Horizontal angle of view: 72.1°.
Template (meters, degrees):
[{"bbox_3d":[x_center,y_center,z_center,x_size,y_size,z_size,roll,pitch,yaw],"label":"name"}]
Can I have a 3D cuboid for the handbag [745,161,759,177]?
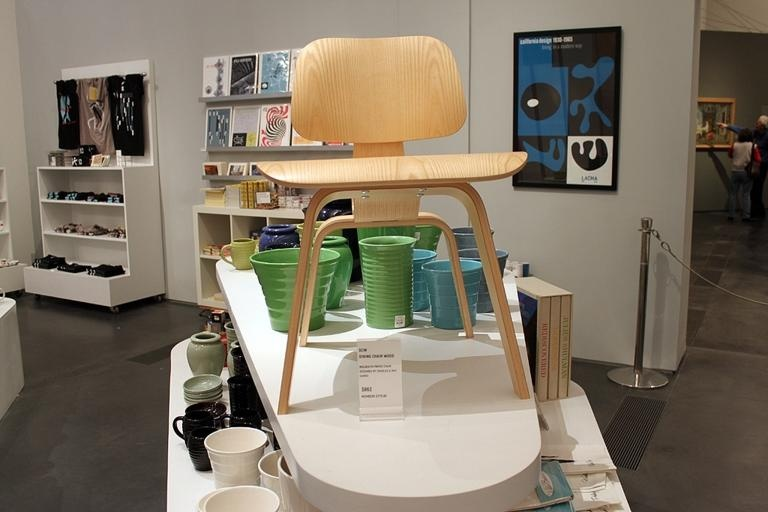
[{"bbox_3d":[6.632,-1.579,9.522,0.279,0.240,0.068,-6,14,-16],"label":"handbag"}]

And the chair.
[{"bbox_3d":[0.010,-0.202,2.041,0.878,1.361,0.910,-4,11,-9],"label":"chair"}]

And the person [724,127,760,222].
[{"bbox_3d":[6.568,-1.492,9.691,0.558,1.648,0.362,-4,13,-9],"label":"person"}]

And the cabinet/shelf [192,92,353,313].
[{"bbox_3d":[-1.351,-0.520,5.296,1.901,2.254,0.622,5,1,34],"label":"cabinet/shelf"}]

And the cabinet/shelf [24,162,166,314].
[{"bbox_3d":[-3.395,-0.273,6.064,1.361,1.418,0.721,5,11,21],"label":"cabinet/shelf"}]
